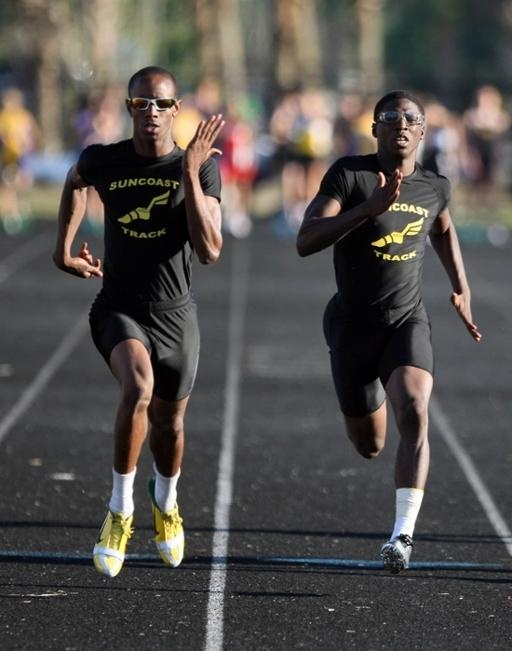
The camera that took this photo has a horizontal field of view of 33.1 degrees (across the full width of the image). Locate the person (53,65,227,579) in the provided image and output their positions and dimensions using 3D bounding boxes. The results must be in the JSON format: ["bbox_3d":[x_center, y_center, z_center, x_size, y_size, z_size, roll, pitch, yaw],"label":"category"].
[{"bbox_3d":[-0.489,-0.023,3.384,0.561,2.000,0.693,0,6,-14],"label":"person"}]

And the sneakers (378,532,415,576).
[{"bbox_3d":[0.501,0.817,3.045,0.089,0.155,0.142,3,6,15],"label":"sneakers"}]

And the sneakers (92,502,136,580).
[{"bbox_3d":[-0.518,0.805,3.236,0.122,0.122,0.279,17,37,-18],"label":"sneakers"}]

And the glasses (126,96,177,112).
[{"bbox_3d":[-0.403,-0.853,3.329,0.187,0.058,0.112,0,5,-4],"label":"glasses"}]

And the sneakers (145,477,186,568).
[{"bbox_3d":[-0.353,0.817,3.539,0.130,0.304,0.134,-13,-14,-21],"label":"sneakers"}]

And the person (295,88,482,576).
[{"bbox_3d":[0.524,0.016,3.478,0.702,1.941,1.061,3,6,16],"label":"person"}]
